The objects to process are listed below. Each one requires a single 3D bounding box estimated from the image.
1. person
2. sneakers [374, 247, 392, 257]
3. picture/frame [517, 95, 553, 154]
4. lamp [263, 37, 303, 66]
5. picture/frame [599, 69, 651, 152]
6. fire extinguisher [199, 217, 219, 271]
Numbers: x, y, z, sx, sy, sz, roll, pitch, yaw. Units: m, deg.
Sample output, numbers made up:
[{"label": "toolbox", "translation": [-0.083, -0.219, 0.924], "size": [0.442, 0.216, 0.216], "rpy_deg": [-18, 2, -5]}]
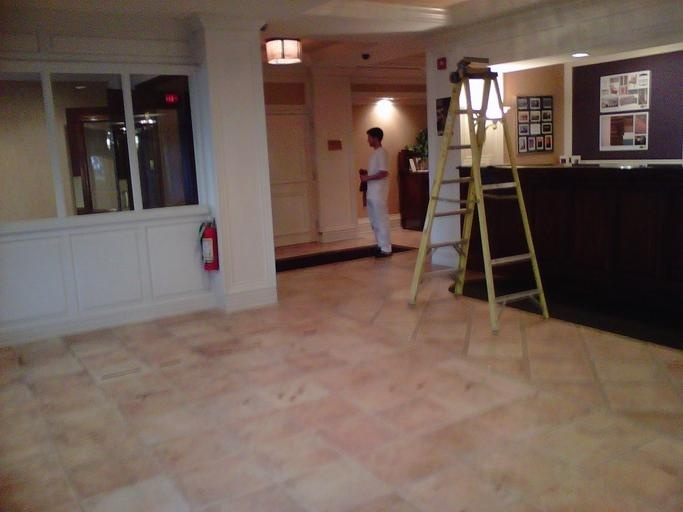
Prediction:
[{"label": "person", "translation": [0.589, -1.035, 7.878], "size": [0.541, 2.031, 0.394], "rpy_deg": [9, 17, 41]}, {"label": "sneakers", "translation": [0.699, -0.049, 7.929], "size": [0.302, 0.135, 0.107], "rpy_deg": [2, 0, -20]}, {"label": "picture/frame", "translation": [3.190, -2.216, 8.023], "size": [0.808, 1.196, 0.094], "rpy_deg": [-4, 8, -24]}, {"label": "lamp", "translation": [-0.846, -3.013, 7.068], "size": [0.442, 0.321, 0.325], "rpy_deg": [2, 14, 18]}, {"label": "picture/frame", "translation": [4.111, -2.081, 7.004], "size": [0.129, 1.074, 0.748], "rpy_deg": [-8, 14, -21]}, {"label": "fire extinguisher", "translation": [-1.565, -0.097, 5.713], "size": [0.209, 0.620, 0.237], "rpy_deg": [-8, 13, -21]}]
